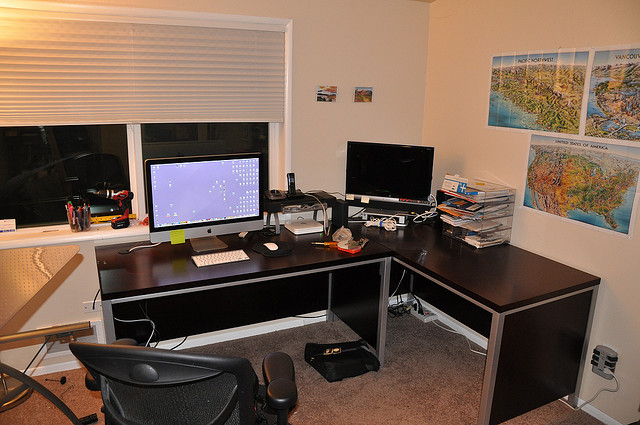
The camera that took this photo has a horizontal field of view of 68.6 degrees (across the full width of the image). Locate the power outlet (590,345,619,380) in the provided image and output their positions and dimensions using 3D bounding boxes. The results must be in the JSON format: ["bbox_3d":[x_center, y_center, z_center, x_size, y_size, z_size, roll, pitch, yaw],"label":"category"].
[{"bbox_3d":[1.931,1.012,3.184,0.087,0.187,0.145,-7,16,-27],"label":"power outlet"}]

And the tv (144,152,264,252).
[{"bbox_3d":[-0.833,-0.121,3.353,0.963,0.629,0.135,-5,15,-33],"label":"tv"}]

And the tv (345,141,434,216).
[{"bbox_3d":[0.581,-0.283,3.884,0.781,0.579,0.176,8,13,17],"label":"tv"}]

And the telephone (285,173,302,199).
[{"bbox_3d":[-0.224,-0.210,3.705,0.159,0.218,0.189,-5,16,-16],"label":"telephone"}]

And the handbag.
[{"bbox_3d":[0.159,1.075,3.637,0.364,0.101,0.313,-4,17,-18],"label":"handbag"}]

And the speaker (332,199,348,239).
[{"bbox_3d":[0.158,0.053,3.749,0.099,0.286,0.254,-6,16,-24],"label":"speaker"}]

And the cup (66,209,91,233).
[{"bbox_3d":[-1.757,0.060,3.435,0.172,0.159,0.157,2,8,0],"label":"cup"}]
